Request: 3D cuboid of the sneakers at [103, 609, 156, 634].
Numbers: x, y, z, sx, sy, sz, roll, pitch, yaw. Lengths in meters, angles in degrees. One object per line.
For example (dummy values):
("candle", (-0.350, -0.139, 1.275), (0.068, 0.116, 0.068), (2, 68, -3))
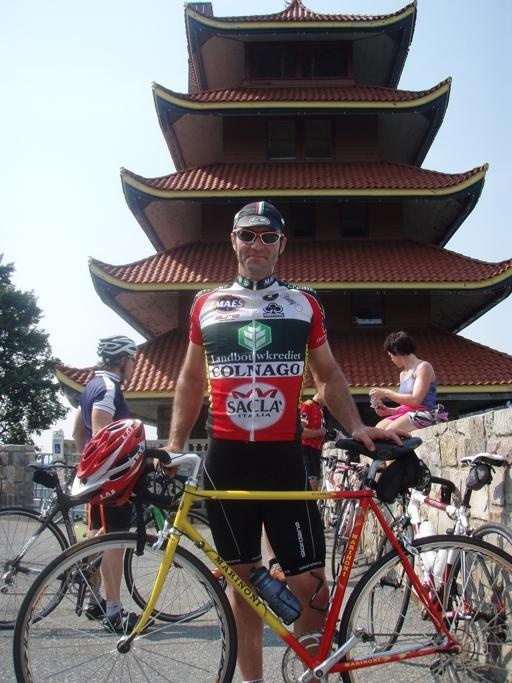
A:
("sneakers", (-0.518, 1.153, 3.089), (0.211, 0.091, 0.076), (0, -18, -1))
